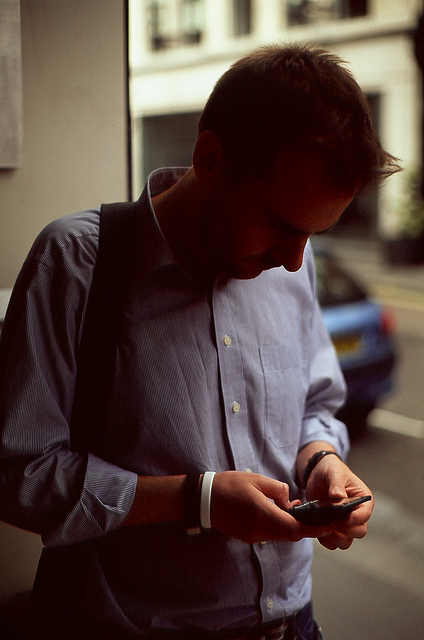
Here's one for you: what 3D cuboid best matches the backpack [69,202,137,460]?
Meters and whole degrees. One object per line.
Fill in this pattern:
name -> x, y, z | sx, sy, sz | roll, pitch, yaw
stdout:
backpack -> -0.175, 0.011, 1.016 | 0.071, 0.342, 0.156 | 7, 2, -10

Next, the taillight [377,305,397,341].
taillight -> 1.087, -0.007, 3.954 | 0.172, 0.261, 0.188 | 1, 6, 12

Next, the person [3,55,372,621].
person -> -0.017, 0.105, 1.062 | 0.665, 0.998, 0.411 | -6, 13, -15
